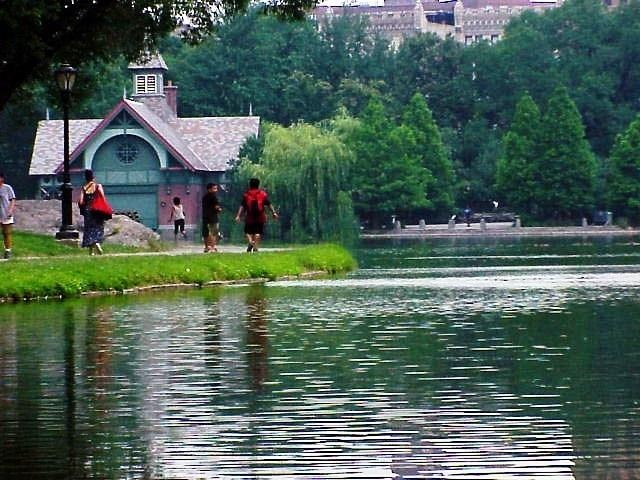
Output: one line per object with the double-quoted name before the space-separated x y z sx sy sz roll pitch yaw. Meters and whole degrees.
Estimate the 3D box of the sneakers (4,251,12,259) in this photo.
"sneakers" -12.741 0.602 71.250 0.283 0.383 0.289 -2 -3 33
